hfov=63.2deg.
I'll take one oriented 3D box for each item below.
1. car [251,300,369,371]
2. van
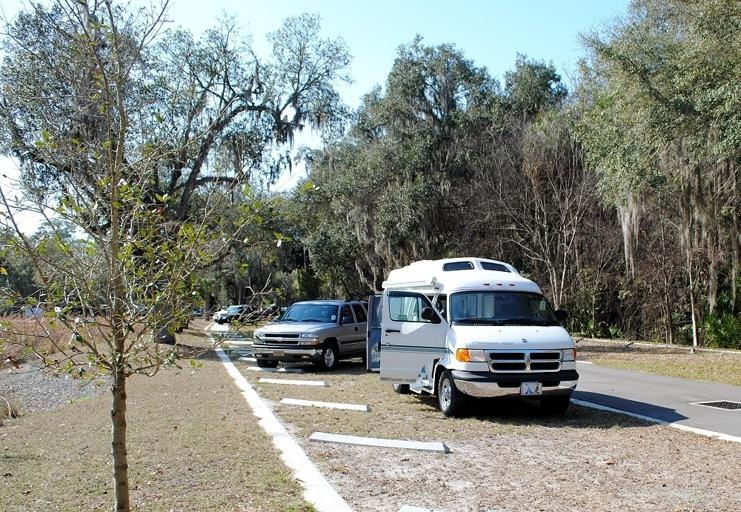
[{"bbox_3d":[-1.469,2.539,19.003,1.768,1.613,3.545,-5,-11,26],"label":"car"},{"bbox_3d":[1.839,1.641,13.057,2.624,2.303,4.008,2,-9,-16],"label":"van"}]
